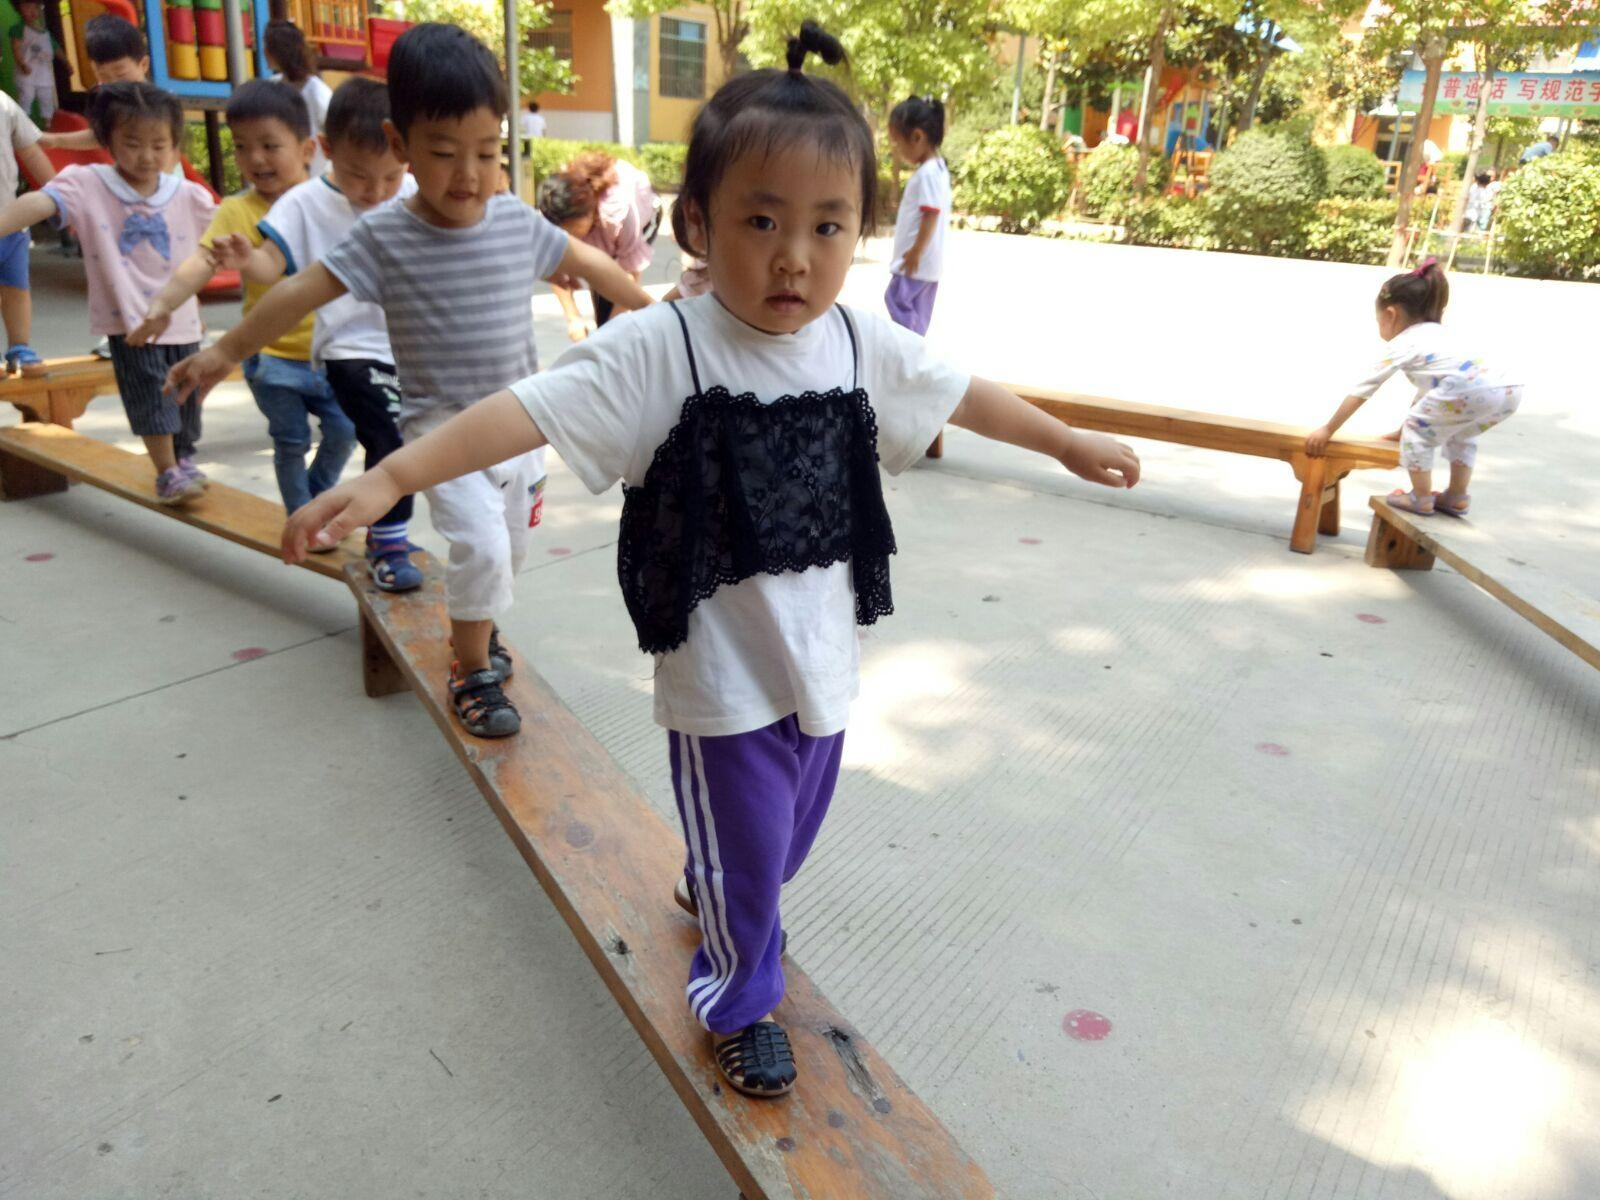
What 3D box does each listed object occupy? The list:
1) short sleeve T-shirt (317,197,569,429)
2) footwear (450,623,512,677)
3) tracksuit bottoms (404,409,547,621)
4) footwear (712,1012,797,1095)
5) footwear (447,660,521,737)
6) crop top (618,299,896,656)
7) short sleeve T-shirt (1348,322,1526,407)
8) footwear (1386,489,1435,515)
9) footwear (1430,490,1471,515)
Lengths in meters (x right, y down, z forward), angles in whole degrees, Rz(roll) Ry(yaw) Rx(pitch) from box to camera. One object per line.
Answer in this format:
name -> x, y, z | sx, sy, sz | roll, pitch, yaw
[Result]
short sleeve T-shirt -> -0.868, -0.738, 2.724 | 0.774, 0.625, 0.263 | -16, 21, -29
footwear -> -0.849, 0.125, 2.802 | 0.085, 0.106, 0.233 | -11, 23, -32
tracksuit bottoms -> -0.763, -0.183, 2.450 | 0.136, 0.627, 0.181 | -6, -2, 10
footwear -> -0.077, 0.756, 1.818 | 0.124, 0.078, 0.223 | 1, 22, -15
footwear -> -0.787, 0.219, 2.594 | 0.110, 0.098, 0.232 | -7, 29, -38
crop top -> -0.059, -0.249, 1.779 | 0.483, 0.646, 0.328 | -9, 14, -26
short sleeve T-shirt -> 2.640, -0.916, 4.345 | 0.578, 0.367, 0.626 | 17, 24, 35
footwear -> 2.478, -0.405, 4.286 | 0.097, 0.089, 0.198 | -1, 16, -43
footwear -> 2.719, -0.416, 4.394 | 0.094, 0.092, 0.206 | 1, 13, 3
